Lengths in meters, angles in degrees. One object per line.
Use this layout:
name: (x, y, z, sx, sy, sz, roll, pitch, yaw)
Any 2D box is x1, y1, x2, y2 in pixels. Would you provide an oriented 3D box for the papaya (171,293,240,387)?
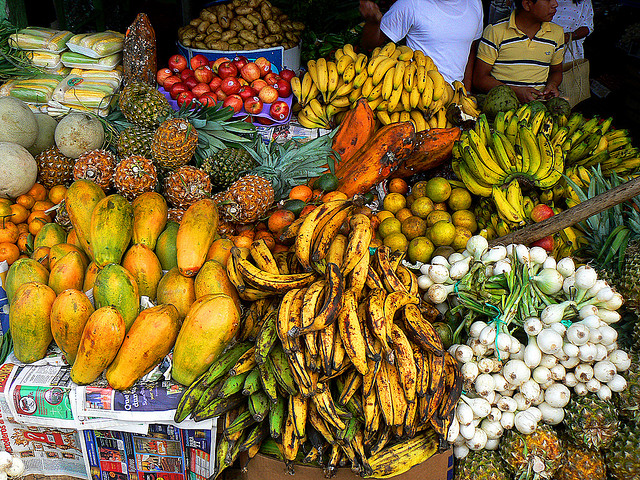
papaya: (-0.751, 0.608, 3.772, 0.343, 0.641, 0.338, 30, -6, -28)

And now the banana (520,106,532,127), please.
banana: (1.855, -1.129, 4.963, 0.066, 0.077, 0.240, 19, 65, 10)

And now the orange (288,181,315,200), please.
orange: (-0.151, -0.428, 4.708, 0.192, 0.161, 0.152, -16, 1, -23)

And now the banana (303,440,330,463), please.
banana: (-0.024, 1.360, 3.578, 0.052, 0.178, 0.052, 40, 2, 1)

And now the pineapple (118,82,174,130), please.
pineapple: (-1.511, -1.192, 4.852, 0.459, 0.331, 0.338, 26, 33, 18)

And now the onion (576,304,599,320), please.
onion: (1.864, 0.504, 3.856, 0.114, 0.092, 0.095, -11, 35, 34)

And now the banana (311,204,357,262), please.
banana: (0.120, -0.041, 3.927, 0.123, 0.185, 0.564, 31, 67, -7)

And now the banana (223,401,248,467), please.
banana: (-0.545, 1.233, 3.600, 0.078, 0.160, 0.426, 17, 78, 2)

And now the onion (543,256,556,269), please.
onion: (1.718, 0.189, 4.145, 0.072, 0.105, 0.079, -15, 18, 35)

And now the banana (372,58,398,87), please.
banana: (0.605, -1.551, 5.170, 0.072, 0.084, 0.335, 1, 52, 56)

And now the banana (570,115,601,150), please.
banana: (2.374, -0.953, 4.970, 0.099, 0.068, 0.387, 29, 59, 3)

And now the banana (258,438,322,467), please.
banana: (-0.174, 1.370, 3.591, 0.376, 0.104, 0.141, 16, 10, 13)

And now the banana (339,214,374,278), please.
banana: (0.251, 0.048, 3.821, 0.209, 0.427, 0.107, 18, 15, -3)

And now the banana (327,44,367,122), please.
banana: (0.203, -1.518, 5.275, 0.219, 0.479, 0.149, 2, 45, -19)

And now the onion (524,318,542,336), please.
onion: (1.471, 0.597, 3.828, 0.116, 0.104, 0.086, 17, 36, 16)

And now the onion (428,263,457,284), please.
onion: (0.884, 0.249, 4.057, 0.204, 0.110, 0.116, 25, 65, -6)

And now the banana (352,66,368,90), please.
banana: (0.383, -1.503, 5.179, 0.095, 0.208, 0.067, 27, 4, -9)

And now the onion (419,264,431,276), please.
onion: (0.792, 0.221, 4.157, 0.057, 0.099, 0.110, 5, -7, 10)

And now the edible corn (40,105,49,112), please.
edible corn: (-2.575, -1.233, 5.205, 0.062, 0.058, 0.027, -5, 35, -16)

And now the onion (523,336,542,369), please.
onion: (1.448, 0.765, 3.781, 0.091, 0.081, 0.212, -11, 50, 22)

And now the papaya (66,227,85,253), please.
papaya: (-1.841, -0.006, 4.170, 0.157, 0.101, 0.124, 35, 4, 40)

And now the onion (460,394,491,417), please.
onion: (1.074, 1.125, 3.831, 0.195, 0.089, 0.085, 33, 67, 22)

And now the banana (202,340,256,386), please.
banana: (-0.599, 0.814, 3.632, 0.321, 0.086, 0.106, -42, 29, -26)

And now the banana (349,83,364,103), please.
banana: (0.340, -1.370, 5.235, 0.060, 0.208, 0.066, 35, 14, 18)

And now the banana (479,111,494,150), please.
banana: (1.424, -0.941, 4.754, 0.062, 0.363, 0.113, -9, 4, 42)

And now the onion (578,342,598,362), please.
onion: (1.813, 0.750, 3.804, 0.117, 0.124, 0.079, 33, 1, -11)

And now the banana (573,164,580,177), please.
banana: (2.279, -0.623, 4.951, 0.042, 0.038, 0.142, 4, 51, 2)

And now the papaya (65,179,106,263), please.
papaya: (-1.686, -0.134, 4.099, 0.247, 0.632, 0.242, -7, 1, 38)

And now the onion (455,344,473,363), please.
onion: (0.992, 0.780, 3.820, 0.097, 0.120, 0.125, -2, 6, 6)

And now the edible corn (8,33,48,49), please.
edible corn: (-2.814, -1.908, 5.385, 0.406, 0.110, 0.157, 14, 36, 9)

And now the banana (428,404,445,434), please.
banana: (0.754, 1.156, 3.560, 0.073, 0.035, 0.157, -4, 77, -16)

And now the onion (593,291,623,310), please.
onion: (2.040, 0.432, 3.931, 0.165, 0.099, 0.086, -5, 67, 8)

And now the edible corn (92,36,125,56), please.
edible corn: (-2.069, -1.888, 5.474, 0.306, 0.087, 0.152, -35, 92, -44)

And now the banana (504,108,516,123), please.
banana: (1.713, -1.130, 5.007, 0.072, 0.097, 0.284, -25, 21, 32)

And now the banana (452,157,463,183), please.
banana: (1.163, -0.612, 4.754, 0.072, 0.062, 0.246, -12, 79, -7)

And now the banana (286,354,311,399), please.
banana: (-0.132, 0.868, 3.463, 0.052, 0.087, 0.396, -17, 83, -20)

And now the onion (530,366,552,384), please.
onion: (1.508, 0.909, 3.781, 0.114, 0.100, 0.075, 28, -4, 5)

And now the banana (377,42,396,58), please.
banana: (0.668, -1.874, 5.459, 0.116, 0.063, 0.194, 10, 53, 27)

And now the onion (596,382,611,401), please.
onion: (1.943, 1.032, 3.811, 0.073, 0.110, 0.060, -13, -7, 4)

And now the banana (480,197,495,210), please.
banana: (1.407, -0.317, 4.649, 0.054, 0.047, 0.111, -31, 73, 1)

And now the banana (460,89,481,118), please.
banana: (1.503, -1.334, 5.658, 0.098, 0.169, 0.362, -24, 74, 8)

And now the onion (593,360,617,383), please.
onion: (1.944, 0.893, 3.806, 0.134, 0.105, 0.092, 13, 35, 9)

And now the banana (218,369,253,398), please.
banana: (-0.549, 0.929, 3.627, 0.285, 0.100, 0.096, -43, 95, -14)

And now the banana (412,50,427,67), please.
banana: (1.004, -1.845, 5.596, 0.110, 0.059, 0.225, -27, 44, 12)

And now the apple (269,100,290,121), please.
apple: (-0.380, -1.238, 5.365, 0.162, 0.185, 0.158, -15, -12, 13)

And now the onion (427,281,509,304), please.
onion: (1.094, 0.373, 4.030, 0.325, 0.103, 0.112, -6, 71, -12)

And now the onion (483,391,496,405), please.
onion: (1.176, 1.078, 3.802, 0.093, 0.090, 0.027, 40, -3, -29)

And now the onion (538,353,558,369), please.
onion: (1.560, 0.816, 3.805, 0.116, 0.074, 0.073, 28, -12, -16)

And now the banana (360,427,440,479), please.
banana: (0.497, 1.355, 3.583, 0.478, 0.153, 0.161, -32, 15, -17)
